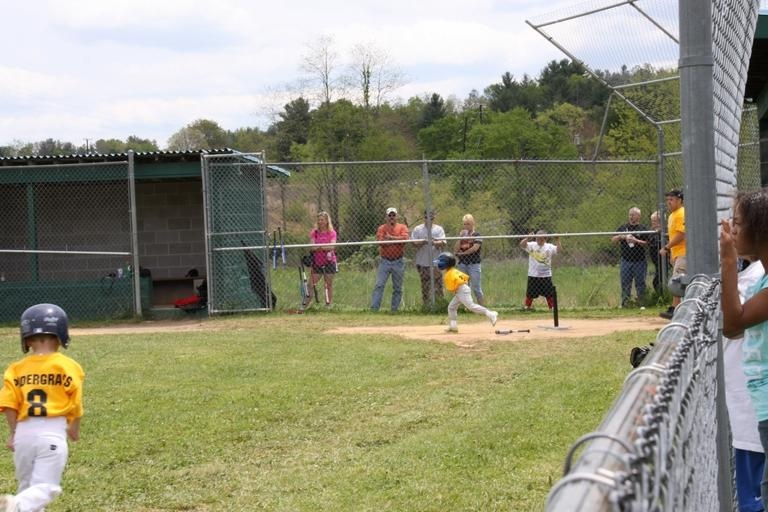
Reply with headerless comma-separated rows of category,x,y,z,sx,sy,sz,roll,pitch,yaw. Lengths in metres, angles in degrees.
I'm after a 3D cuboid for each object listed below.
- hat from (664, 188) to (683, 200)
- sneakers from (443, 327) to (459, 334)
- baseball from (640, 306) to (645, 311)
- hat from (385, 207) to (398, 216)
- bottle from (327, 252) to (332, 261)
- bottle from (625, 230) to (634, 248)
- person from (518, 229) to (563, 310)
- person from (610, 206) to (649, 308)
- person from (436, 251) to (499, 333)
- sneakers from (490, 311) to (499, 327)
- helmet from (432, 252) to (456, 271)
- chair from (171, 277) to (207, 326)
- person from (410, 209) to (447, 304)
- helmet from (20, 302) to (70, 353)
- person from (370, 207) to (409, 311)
hat,3.892,-0.885,13.051,0.196,0.146,0.480,1,12,13
sneakers,0.882,1.086,13.630,0.200,0.128,0.068,6,2,11
baseball,4.220,0.899,15.947,0.066,0.032,0.077,-1,10,0
hat,0.032,-0.799,16.495,0.261,0.136,0.422,0,-5,-1
bottle,-1.001,-0.014,16.001,0.093,0.151,0.073,-1,12,6
bottle,3.928,-0.285,15.620,0.096,0.267,0.107,3,-42,-1
person,2.527,0.246,15.970,0.650,1.543,1.758,0,12,10
person,4.064,0.013,16.142,0.560,1.727,1.145,1,12,15
person,1.109,0.519,14.393,0.742,1.315,1.892,-2,12,2
sneakers,1.527,0.935,13.871,0.128,0.294,0.109,-6,-2,6
helmet,0.803,0.081,13.974,0.303,0.206,0.217,2,0,-2
chair,-3.395,0.823,16.728,0.817,0.752,0.621,1,1,-7
person,0.702,0.167,15.950,0.608,1.596,0.536,6,-32,-11
helmet,-2.947,0.643,8.122,0.406,0.436,0.487,7,-18,-25
person,-0.007,0.055,16.011,0.694,1.749,1.039,-3,12,-1
